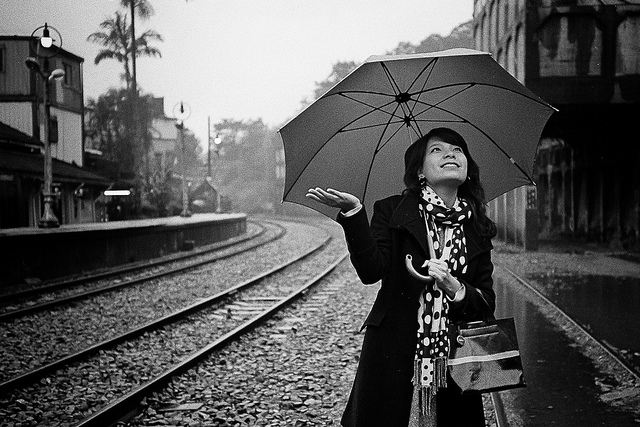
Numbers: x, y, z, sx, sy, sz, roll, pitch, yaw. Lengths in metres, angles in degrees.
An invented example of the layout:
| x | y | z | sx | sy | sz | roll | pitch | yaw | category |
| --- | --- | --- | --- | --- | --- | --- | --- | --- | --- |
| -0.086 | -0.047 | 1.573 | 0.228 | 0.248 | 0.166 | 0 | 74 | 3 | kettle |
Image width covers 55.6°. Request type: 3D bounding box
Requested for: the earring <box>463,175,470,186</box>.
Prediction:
| x | y | z | sx | sy | sz | roll | pitch | yaw | category |
| --- | --- | --- | --- | --- | --- | --- | --- | --- | --- |
| 1.389 | -0.329 | 5.771 | 0.068 | 0.055 | 0.065 | -40 | 32 | -29 | earring |

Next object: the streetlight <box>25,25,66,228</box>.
| x | y | z | sx | sy | sz | roll | pitch | yaw | category |
| --- | --- | --- | --- | --- | --- | --- | --- | --- | --- |
| -5.601 | -1.736 | 12.401 | 0.673 | 4.083 | 0.699 | 2 | 3 | 30 | streetlight |

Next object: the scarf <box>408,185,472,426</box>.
| x | y | z | sx | sy | sz | roll | pitch | yaw | category |
| --- | --- | --- | --- | --- | --- | --- | --- | --- | --- |
| 1.029 | 0.885 | 5.782 | 0.589 | 2.042 | 0.639 | 0 | -5 | -7 | scarf |

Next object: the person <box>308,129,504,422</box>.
| x | y | z | sx | sy | sz | roll | pitch | yaw | category |
| --- | --- | --- | --- | --- | --- | --- | --- | --- | --- |
| 0.913 | 0.596 | 5.674 | 1.407 | 2.781 | 0.491 | 0 | 3 | 3 | person |

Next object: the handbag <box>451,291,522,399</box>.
| x | y | z | sx | sy | sz | roll | pitch | yaw | category |
| --- | --- | --- | --- | --- | --- | --- | --- | --- | --- |
| 1.502 | 1.174 | 5.646 | 0.602 | 1.057 | 0.337 | -9 | -25 | 9 | handbag |
